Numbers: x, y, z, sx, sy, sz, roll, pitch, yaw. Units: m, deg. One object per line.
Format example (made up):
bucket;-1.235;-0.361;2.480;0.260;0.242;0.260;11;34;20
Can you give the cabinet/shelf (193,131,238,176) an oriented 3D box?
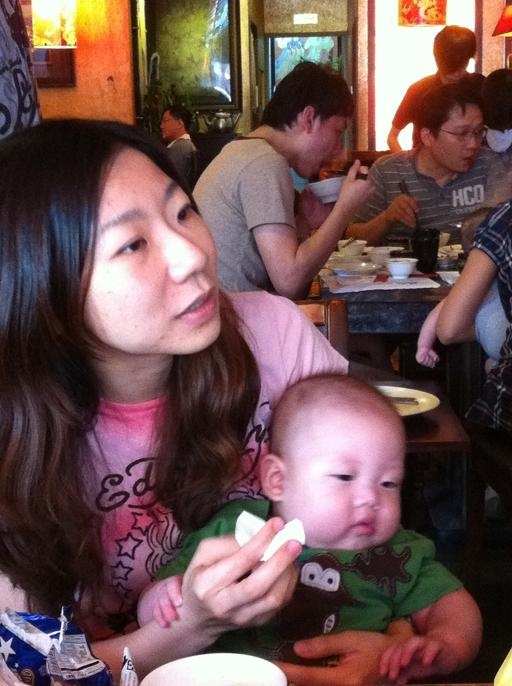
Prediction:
cabinet/shelf;-0.398;-2.109;6.450;0.361;0.450;0.362;21;22;41

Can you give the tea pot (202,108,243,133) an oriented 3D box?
tea pot;-0.379;-2.529;6.658;0.572;0.285;0.337;-1;29;-6

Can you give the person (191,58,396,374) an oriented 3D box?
person;0.091;-0.542;2.382;0.643;1.016;0.649;-4;20;-9

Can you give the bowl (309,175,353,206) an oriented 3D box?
bowl;0.313;-0.632;2.461;0.141;0.069;0.108;-16;16;-15

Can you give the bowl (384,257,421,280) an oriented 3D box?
bowl;0.601;-0.301;2.441;0.116;0.071;0.111;0;10;0

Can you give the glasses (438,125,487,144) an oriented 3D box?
glasses;1.122;-1.137;3.213;0.230;0.076;0.070;-7;15;-10
